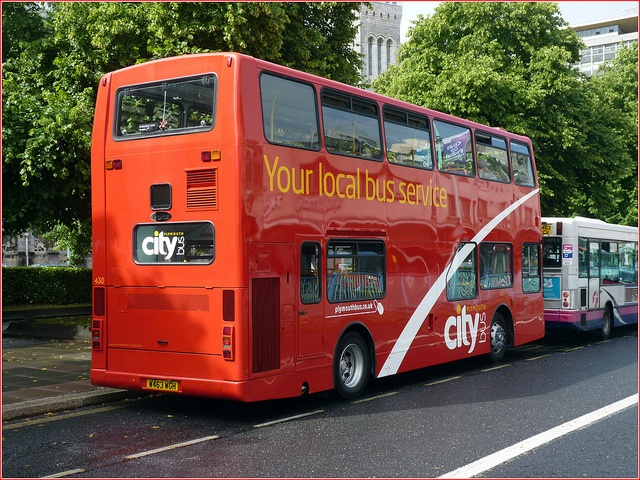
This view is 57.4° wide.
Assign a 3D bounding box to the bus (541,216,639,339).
[{"bbox_3d":[9.041,1.296,19.178,6.749,3.829,0.976,2,-1,-43],"label":"bus"}]
